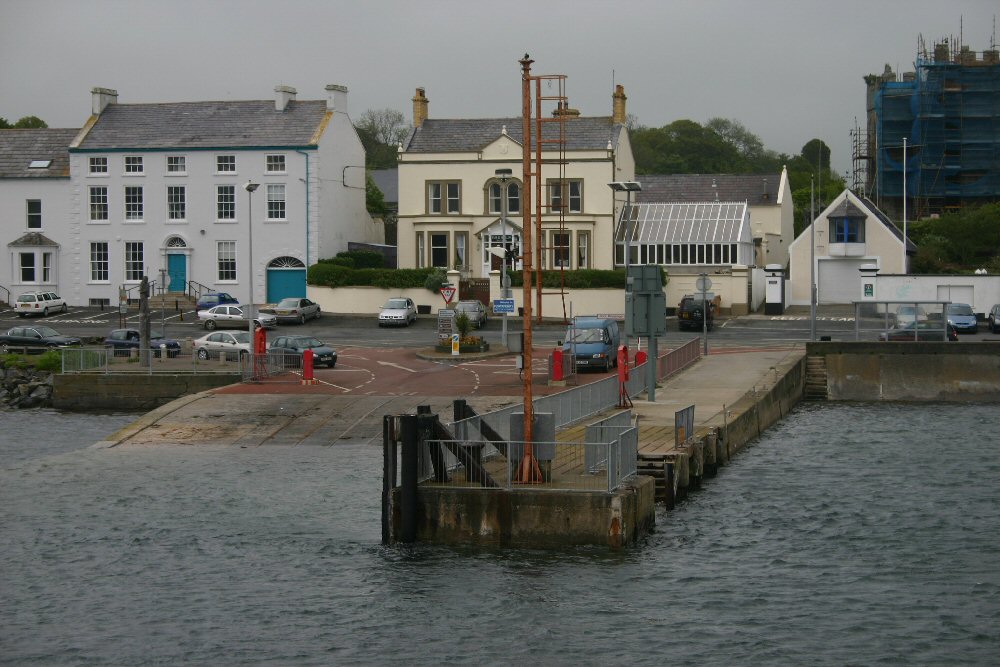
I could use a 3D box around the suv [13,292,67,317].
[{"bbox_3d":[-29.444,-1.947,126.530,1.492,0.875,2.885,2,8,17],"label":"suv"}]
